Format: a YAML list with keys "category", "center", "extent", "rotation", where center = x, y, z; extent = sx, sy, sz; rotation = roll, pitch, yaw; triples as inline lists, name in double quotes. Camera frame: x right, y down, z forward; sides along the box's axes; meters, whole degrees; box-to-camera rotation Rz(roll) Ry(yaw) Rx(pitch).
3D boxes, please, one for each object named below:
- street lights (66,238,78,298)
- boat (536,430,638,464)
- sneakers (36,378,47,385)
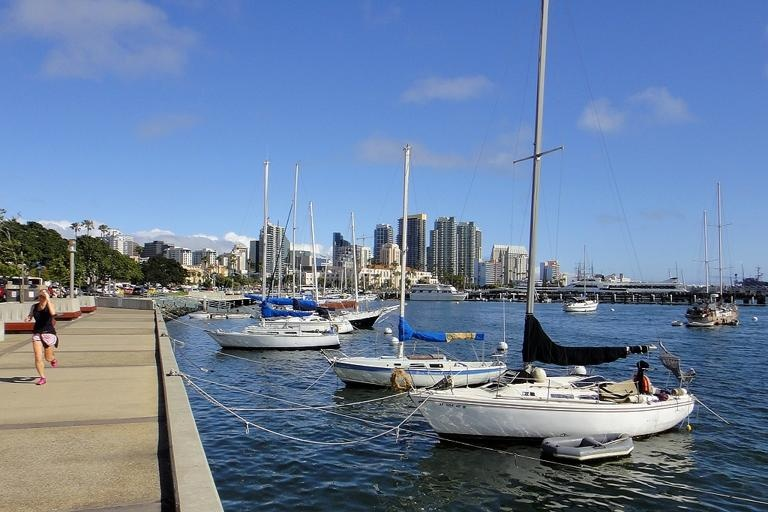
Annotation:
- category: "street lights"
  center: [-21.232, 0.951, 44.910]
  extent: [0.702, 4.082, 0.789]
  rotation: [-3, -3, 19]
- category: "boat"
  center: [7.983, 7.512, 25.878]
  extent: [2.600, 0.579, 1.390]
  rotation: [3, -6, -5]
- category: "sneakers"
  center: [-12.345, 4.473, 23.852]
  extent: [0.316, 0.218, 0.460]
  rotation: [2, 0, -27]
